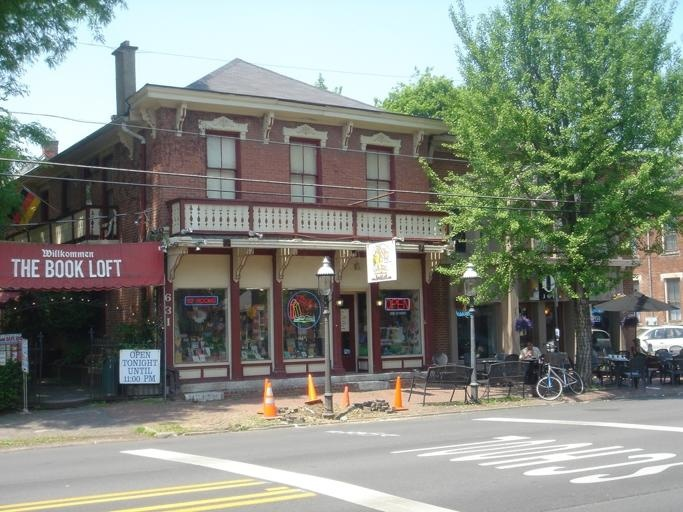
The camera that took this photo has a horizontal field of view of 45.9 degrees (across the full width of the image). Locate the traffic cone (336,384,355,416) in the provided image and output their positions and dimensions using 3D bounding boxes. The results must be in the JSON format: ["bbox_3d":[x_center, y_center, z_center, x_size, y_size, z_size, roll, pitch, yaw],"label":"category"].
[{"bbox_3d":[-0.008,4.342,24.386,0.604,0.906,0.695,1,-8,6],"label":"traffic cone"}]

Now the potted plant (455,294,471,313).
[{"bbox_3d":[4.718,1.793,31.159,0.360,0.975,0.900,-4,-6,41],"label":"potted plant"}]

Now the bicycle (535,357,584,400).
[{"bbox_3d":[7.289,4.140,26.741,1.785,1.112,0.897,0,-32,-44],"label":"bicycle"}]
